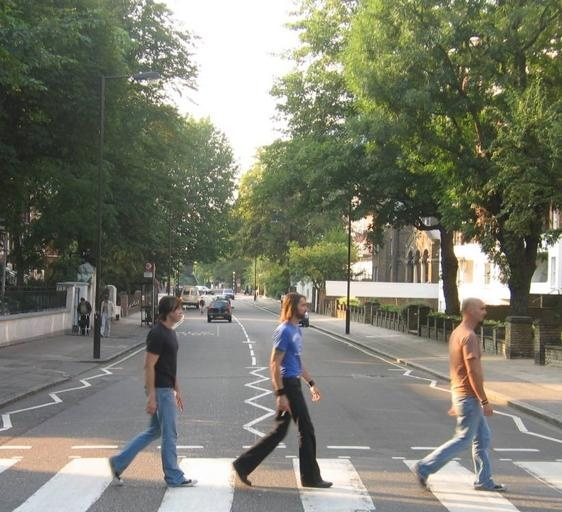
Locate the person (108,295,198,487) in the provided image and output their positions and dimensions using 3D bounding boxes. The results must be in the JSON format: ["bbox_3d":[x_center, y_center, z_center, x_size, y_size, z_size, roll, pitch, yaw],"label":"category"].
[{"bbox_3d":[-1.341,1.455,7.125,0.799,2.051,0.489,2,-3,-19],"label":"person"}]

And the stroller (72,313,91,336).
[{"bbox_3d":[-8.817,3.072,28.748,0.708,1.173,0.651,2,1,-4],"label":"stroller"}]

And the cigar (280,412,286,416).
[{"bbox_3d":[0.020,1.698,7.058,0.036,0.027,0.082,1,-3,0],"label":"cigar"}]

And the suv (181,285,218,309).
[{"bbox_3d":[-9.534,4.708,75.535,1.774,2.126,3.589,0,2,10],"label":"suv"}]

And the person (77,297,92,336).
[{"bbox_3d":[-8.557,2.518,28.123,0.527,1.645,0.440,0,22,-14],"label":"person"}]

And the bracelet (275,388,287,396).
[{"bbox_3d":[-0.002,1.473,7.079,0.072,0.071,0.084,0,-8,1],"label":"bracelet"}]

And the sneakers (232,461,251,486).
[{"bbox_3d":[-0.429,2.380,7.224,0.220,0.265,0.353,1,-5,-1],"label":"sneakers"}]

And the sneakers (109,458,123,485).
[{"bbox_3d":[-1.805,2.337,7.138,0.118,0.373,0.107,-7,4,6],"label":"sneakers"}]

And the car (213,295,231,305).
[{"bbox_3d":[-5.096,3.748,56.094,0.997,0.987,1.879,2,-5,-4],"label":"car"}]

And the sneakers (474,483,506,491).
[{"bbox_3d":[2.287,2.521,7.102,0.290,0.107,0.129,1,-2,-10],"label":"sneakers"}]

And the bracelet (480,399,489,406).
[{"bbox_3d":[2.189,1.566,6.984,0.075,0.059,0.074,0,-5,13],"label":"bracelet"}]

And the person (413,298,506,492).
[{"bbox_3d":[2.047,1.508,7.264,0.828,2.084,0.718,-1,-3,22],"label":"person"}]

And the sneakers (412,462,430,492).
[{"bbox_3d":[1.530,2.399,7.102,0.072,0.270,0.173,-9,-19,15],"label":"sneakers"}]

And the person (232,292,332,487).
[{"bbox_3d":[0.074,1.473,7.403,0.993,2.121,0.961,0,-3,3],"label":"person"}]
